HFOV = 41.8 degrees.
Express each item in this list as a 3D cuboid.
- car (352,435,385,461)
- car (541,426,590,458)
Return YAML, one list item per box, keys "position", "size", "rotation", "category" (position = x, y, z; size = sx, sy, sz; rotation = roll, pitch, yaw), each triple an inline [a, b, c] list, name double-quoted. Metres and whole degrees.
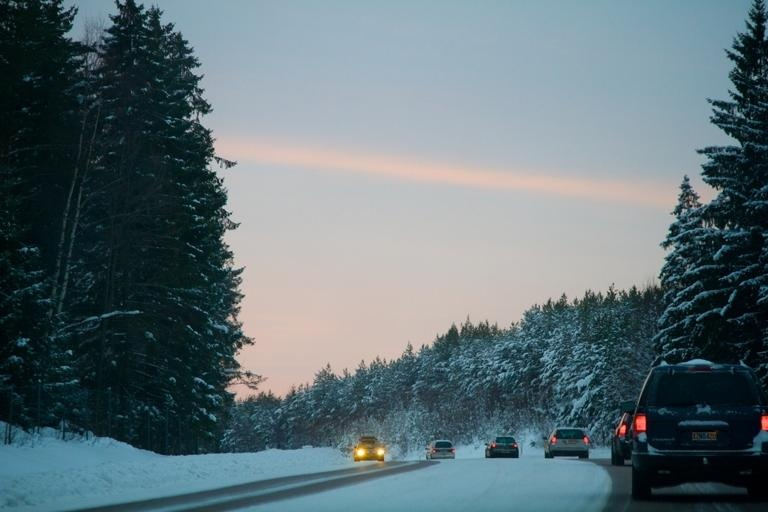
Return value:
- position: [-0.966, 12.723, 67.737]
  size: [1.247, 1.284, 2.299]
  rotation: [0, -19, -5]
  category: "car"
- position: [10.854, 10.704, 58.588]
  size: [2.208, 1.816, 2.118]
  rotation: [3, -15, -3]
  category: "car"
